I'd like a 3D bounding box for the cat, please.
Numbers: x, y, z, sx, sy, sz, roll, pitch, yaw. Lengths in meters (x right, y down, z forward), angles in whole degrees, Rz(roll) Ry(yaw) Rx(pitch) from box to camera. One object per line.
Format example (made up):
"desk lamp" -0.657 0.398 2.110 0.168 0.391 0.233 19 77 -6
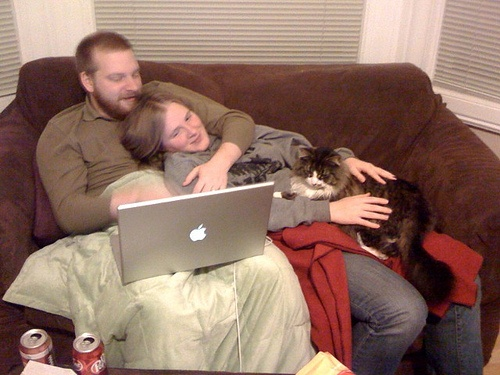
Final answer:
"cat" 0.529 0.233 2.185 0.789 0.326 0.581 25 54 7
